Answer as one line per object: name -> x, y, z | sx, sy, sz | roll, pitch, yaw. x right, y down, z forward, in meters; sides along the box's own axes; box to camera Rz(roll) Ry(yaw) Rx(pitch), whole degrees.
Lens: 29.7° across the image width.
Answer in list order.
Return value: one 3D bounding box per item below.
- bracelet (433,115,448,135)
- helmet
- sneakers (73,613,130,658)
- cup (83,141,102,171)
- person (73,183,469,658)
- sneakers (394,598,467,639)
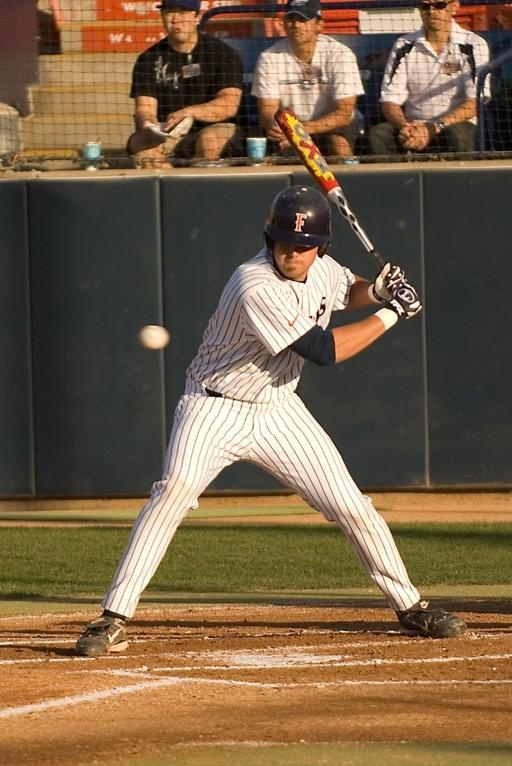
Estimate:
bracelet -> 1.119, -1.565, 5.856 | 0.081, 0.094, 0.033 | 3, -7, -8
helmet -> 0.114, -0.466, 2.683 | 0.176, 0.203, 0.171 | -1, -3, 0
sneakers -> -0.412, 0.708, 2.721 | 0.078, 0.081, 0.184 | 10, 1, 26
cup -> -1.001, -1.389, 5.916 | 0.112, 0.239, 0.234 | 0, -3, -10
person -> 0.059, 0.098, 2.752 | 1.026, 1.321, 0.488 | 1, -3, -27
sneakers -> 0.513, 0.697, 2.876 | 0.211, 0.081, 0.097 | 2, 23, 27
